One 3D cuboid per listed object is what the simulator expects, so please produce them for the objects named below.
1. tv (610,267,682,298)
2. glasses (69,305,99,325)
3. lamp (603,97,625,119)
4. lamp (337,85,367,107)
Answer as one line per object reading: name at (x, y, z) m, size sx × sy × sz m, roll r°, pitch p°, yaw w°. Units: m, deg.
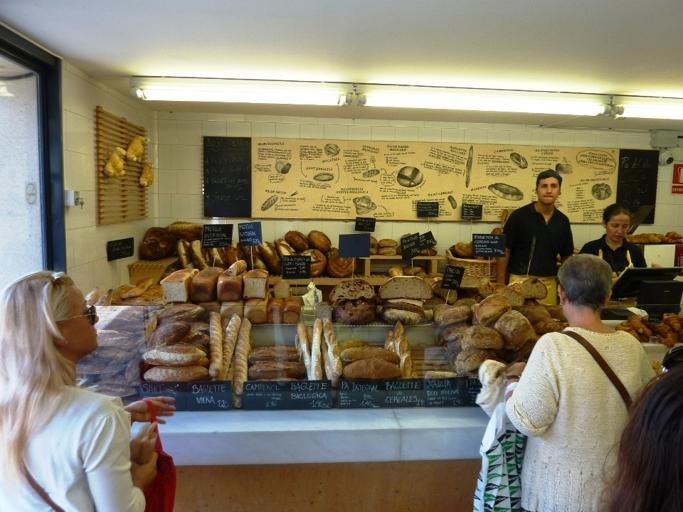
tv at (1.825, 0.145, 3.138) m, size 0.372 × 0.190 × 0.189 m, roll 0°, pitch 6°, yaw -3°
glasses at (-0.962, 0.223, 1.954) m, size 0.078 × 0.022 × 0.072 m, roll -4°, pitch 11°, yaw -18°
lamp at (2.315, -1.278, 4.413) m, size 0.161 × 0.142 × 0.079 m, roll -1°, pitch 2°, yaw -15°
lamp at (0.096, -1.339, 4.296) m, size 0.228 × 0.136 × 0.224 m, roll 0°, pitch 3°, yaw 3°
